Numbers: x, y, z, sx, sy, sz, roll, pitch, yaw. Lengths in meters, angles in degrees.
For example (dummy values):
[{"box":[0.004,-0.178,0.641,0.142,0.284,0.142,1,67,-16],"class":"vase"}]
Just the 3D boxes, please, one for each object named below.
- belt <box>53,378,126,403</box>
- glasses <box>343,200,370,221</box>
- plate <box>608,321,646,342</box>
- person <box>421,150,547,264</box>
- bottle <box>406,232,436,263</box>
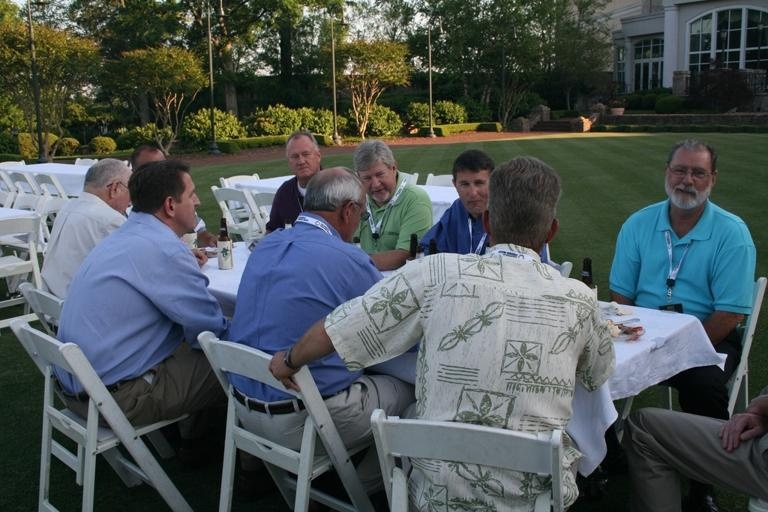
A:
[{"box":[-2.100,0.947,4.706,0.208,0.104,0.294,3,4,3],"class":"belt"},{"box":[-0.191,-0.313,4.682,0.037,0.133,0.117,0,4,-40],"class":"glasses"},{"box":[1.609,0.503,4.523,0.208,0.080,0.205,-8,11,-34],"class":"plate"},{"box":[0.744,-0.367,5.640,0.954,0.915,0.615,2,12,25],"class":"person"},{"box":[0.324,-0.075,5.503,0.214,0.229,0.211,-2,3,-32],"class":"bottle"}]
